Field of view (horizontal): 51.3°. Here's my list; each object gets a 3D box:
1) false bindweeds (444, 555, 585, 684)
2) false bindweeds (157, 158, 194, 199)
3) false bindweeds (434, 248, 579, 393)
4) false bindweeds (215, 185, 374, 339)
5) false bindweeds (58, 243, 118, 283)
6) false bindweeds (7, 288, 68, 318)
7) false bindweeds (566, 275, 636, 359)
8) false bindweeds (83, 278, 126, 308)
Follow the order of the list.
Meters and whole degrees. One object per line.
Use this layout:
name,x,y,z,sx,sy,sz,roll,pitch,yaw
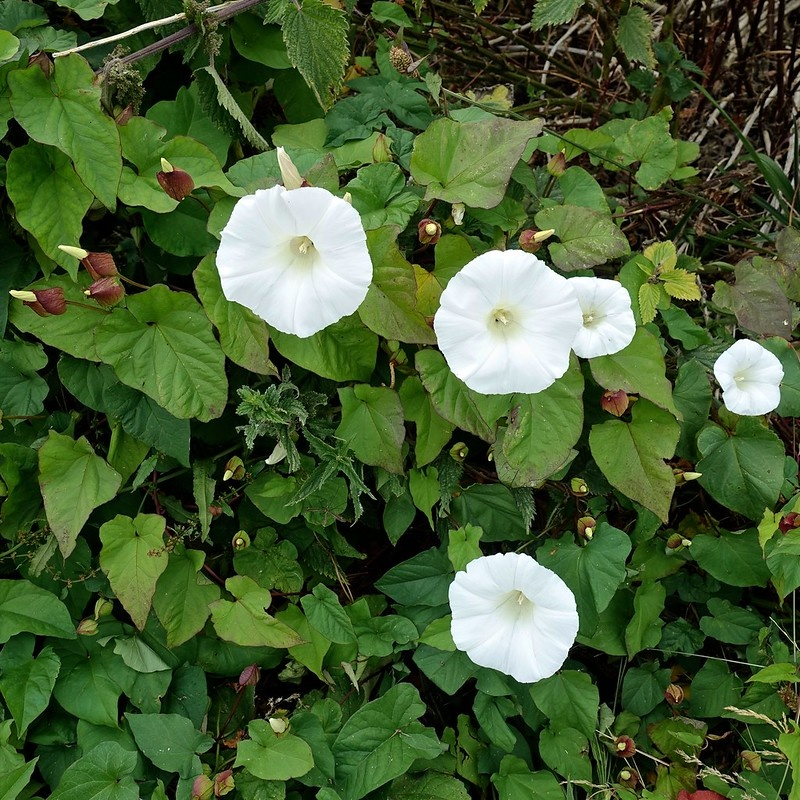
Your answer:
false bindweeds,0.295,0.576,2.225,0.345,0.222,0.273,21,69,7
false bindweeds,-0.591,-0.570,2.211,0.080,0.110,0.060,-7,45,6
false bindweeds,0.263,-0.181,2.047,0.340,0.167,0.322,21,69,6
false bindweeds,-0.252,-0.337,2.010,0.367,0.222,0.283,21,69,7
false bindweeds,-0.859,-0.365,2.269,0.178,0.069,0.090,14,46,-41
false bindweeds,-0.955,-0.257,2.193,0.125,0.076,0.075,10,100,-1
false bindweeds,0.553,-0.223,2.288,0.216,0.082,0.222,-4,86,-12
false bindweeds,-0.781,-0.281,2.201,0.088,0.068,0.076,-3,69,-8
